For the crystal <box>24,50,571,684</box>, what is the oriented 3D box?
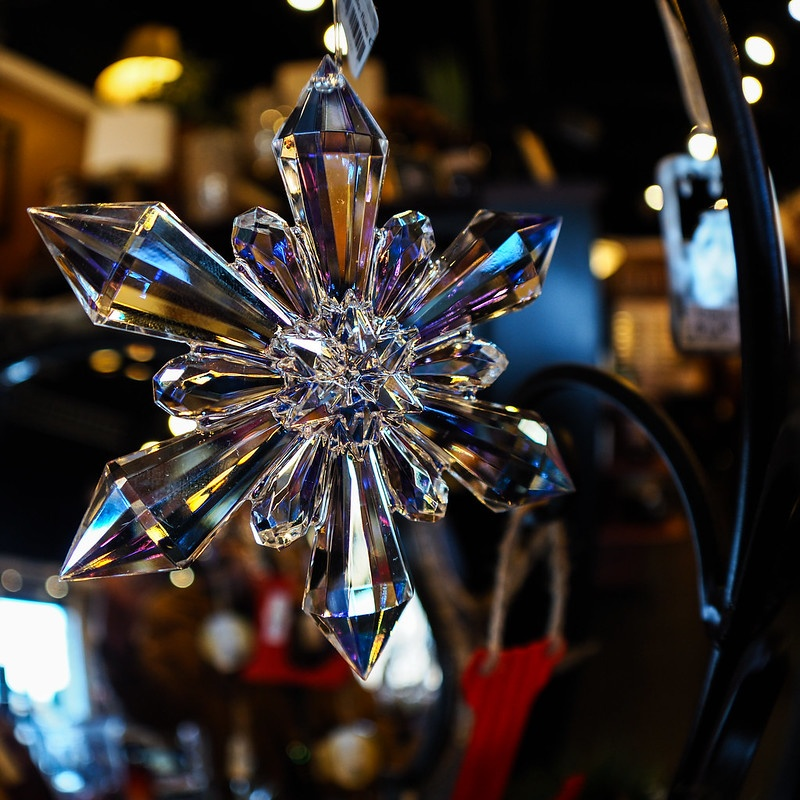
[{"bbox_3d":[-0.048,-0.017,0.506,0.244,0.286,0.079,3,14,-2],"label":"crystal"}]
